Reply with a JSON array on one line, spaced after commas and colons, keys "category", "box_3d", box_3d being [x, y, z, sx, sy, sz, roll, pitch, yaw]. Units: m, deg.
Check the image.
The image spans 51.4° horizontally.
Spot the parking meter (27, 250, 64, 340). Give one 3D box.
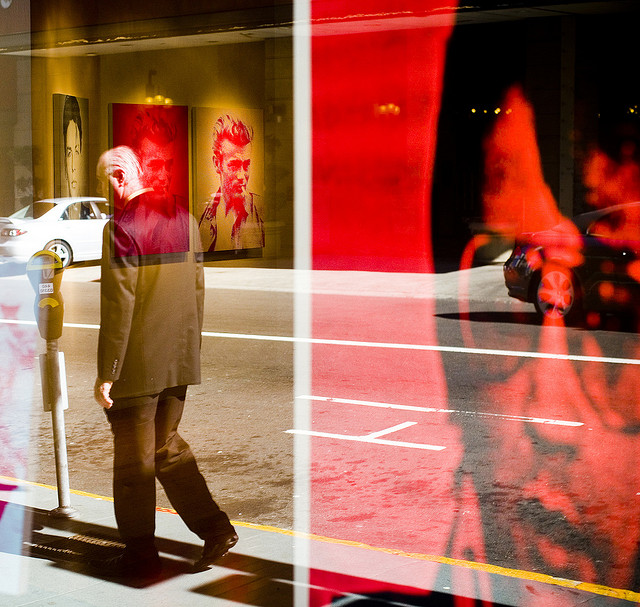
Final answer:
[{"category": "parking meter", "box_3d": [-1.400, -0.032, 3.396, 0.170, 0.477, 0.344, -4, 8, -21]}]

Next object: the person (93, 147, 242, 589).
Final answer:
[{"category": "person", "box_3d": [-0.698, 0.262, 2.866, 0.586, 1.833, 0.531, -5, 9, -30]}]
